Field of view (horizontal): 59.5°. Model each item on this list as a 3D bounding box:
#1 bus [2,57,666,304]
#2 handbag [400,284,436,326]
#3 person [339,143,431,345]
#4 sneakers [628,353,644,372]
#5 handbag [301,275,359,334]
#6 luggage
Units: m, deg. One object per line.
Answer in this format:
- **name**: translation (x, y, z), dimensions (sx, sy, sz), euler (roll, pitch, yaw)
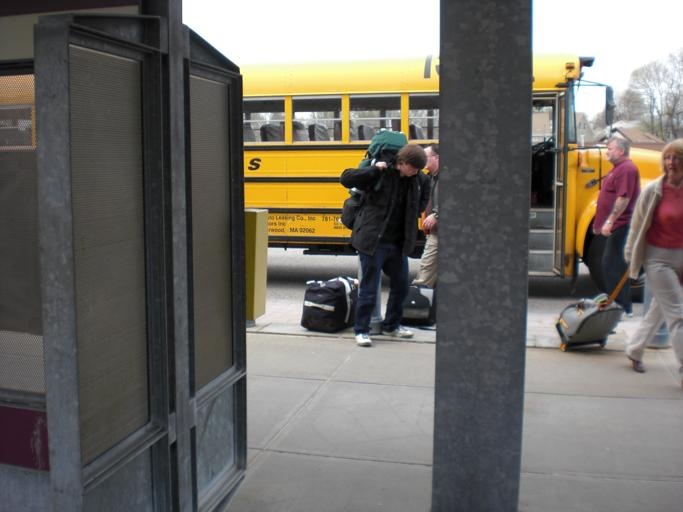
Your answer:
- **bus**: translation (-0.391, -1.684, 9.758), dimensions (9.528, 3.061, 2.552), euler (2, 8, 17)
- **handbag**: translation (0.893, 0.580, 7.119), dimensions (0.491, 0.425, 0.555), euler (5, 0, 30)
- **person**: translation (0.430, -0.115, 6.250), dimensions (0.836, 2.066, 0.646), euler (-1, 7, -1)
- **sneakers**: translation (2.666, 0.975, 5.408), dimensions (0.076, 0.093, 0.230), euler (-5, 3, 0)
- **handbag**: translation (-0.120, 0.521, 6.930), dimensions (0.533, 0.573, 0.756), euler (6, 6, 18)
- **luggage**: translation (2.827, 0.606, 6.692), dimensions (0.474, 1.018, 0.710), euler (-3, 25, -11)
